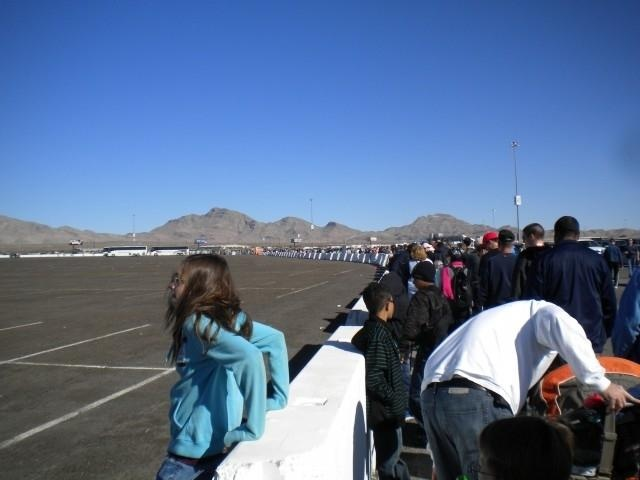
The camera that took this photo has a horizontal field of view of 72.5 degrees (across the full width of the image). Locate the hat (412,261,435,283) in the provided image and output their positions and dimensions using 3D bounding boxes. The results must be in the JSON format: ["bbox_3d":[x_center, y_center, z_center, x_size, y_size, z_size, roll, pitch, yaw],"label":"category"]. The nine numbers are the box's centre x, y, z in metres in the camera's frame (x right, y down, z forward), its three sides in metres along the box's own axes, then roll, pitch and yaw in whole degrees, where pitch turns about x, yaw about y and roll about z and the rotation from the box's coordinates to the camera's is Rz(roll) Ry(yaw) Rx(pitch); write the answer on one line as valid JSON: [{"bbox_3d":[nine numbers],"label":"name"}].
[{"bbox_3d":[1.186,0.364,5.002,0.219,0.199,0.239,7,14,6],"label":"hat"}]

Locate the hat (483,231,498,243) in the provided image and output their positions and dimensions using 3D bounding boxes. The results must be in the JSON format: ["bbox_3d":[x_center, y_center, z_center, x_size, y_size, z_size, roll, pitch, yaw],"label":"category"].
[{"bbox_3d":[3.141,-0.061,7.963,0.263,0.148,0.189,-31,15,-12],"label":"hat"}]

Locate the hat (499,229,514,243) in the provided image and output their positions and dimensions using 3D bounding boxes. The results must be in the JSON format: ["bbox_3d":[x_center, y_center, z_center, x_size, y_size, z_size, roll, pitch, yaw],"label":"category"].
[{"bbox_3d":[2.735,-0.057,6.500,0.169,0.250,0.241,2,15,15],"label":"hat"}]

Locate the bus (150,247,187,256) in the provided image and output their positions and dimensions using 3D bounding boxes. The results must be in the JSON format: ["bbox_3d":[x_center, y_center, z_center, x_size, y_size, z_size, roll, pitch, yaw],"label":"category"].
[{"bbox_3d":[-42.156,3.246,121.293,7.124,1.849,1.951,1,-2,8],"label":"bus"}]
